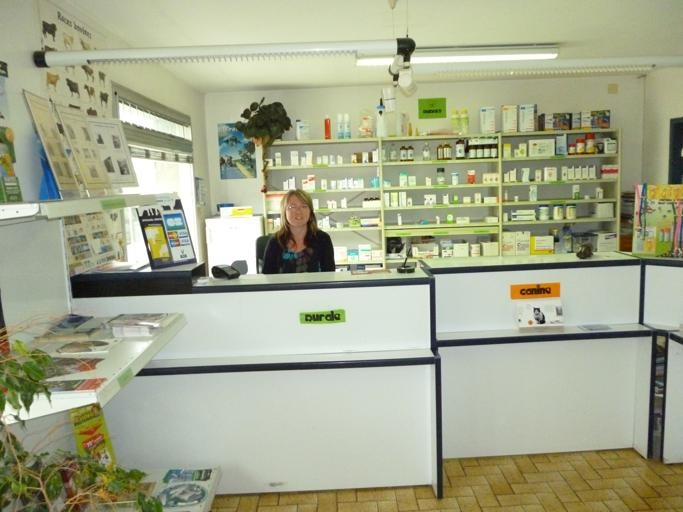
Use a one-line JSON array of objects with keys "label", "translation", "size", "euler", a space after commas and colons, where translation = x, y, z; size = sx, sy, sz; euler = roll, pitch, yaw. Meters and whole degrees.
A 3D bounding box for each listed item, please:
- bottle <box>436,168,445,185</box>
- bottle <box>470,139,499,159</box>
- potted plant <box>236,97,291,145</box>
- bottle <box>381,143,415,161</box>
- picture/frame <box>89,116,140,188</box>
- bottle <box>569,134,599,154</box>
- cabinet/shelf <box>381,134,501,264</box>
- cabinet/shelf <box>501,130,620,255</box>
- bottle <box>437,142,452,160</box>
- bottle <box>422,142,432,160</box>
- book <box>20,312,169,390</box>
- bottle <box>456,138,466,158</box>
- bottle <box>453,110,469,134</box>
[{"label": "bottle", "translation": [1.359, -1.084, 7.215], "size": [0.129, 0.219, 0.379], "euler": [-1, 10, 10]}, {"label": "bottle", "translation": [1.889, -1.427, 7.040], "size": [0.361, 0.277, 0.141], "euler": [-2, 10, -1]}, {"label": "potted plant", "translation": [-1.013, -1.731, 6.897], "size": [0.683, 0.572, 0.493], "euler": [-4, 10, -9]}, {"label": "bottle", "translation": [0.761, -1.402, 7.202], "size": [0.303, 0.191, 0.116], "euler": [-1, 5, -4]}, {"label": "picture/frame", "translation": [-1.507, -0.694, 3.564], "size": [0.183, 0.460, 0.256], "euler": [3, 11, 25]}, {"label": "bottle", "translation": [3.222, -1.487, 7.067], "size": [0.372, 0.279, 0.201], "euler": [0, 11, 15]}, {"label": "cabinet/shelf", "translation": [1.317, -0.801, 7.068], "size": [1.798, 1.694, 0.584], "euler": [-1, -1, 2]}, {"label": "cabinet/shelf", "translation": [2.929, -0.883, 7.088], "size": [1.724, 1.908, 0.568], "euler": [-1, -2, 1]}, {"label": "bottle", "translation": [1.390, -1.400, 7.121], "size": [0.192, 0.214, 0.138], "euler": [-3, 10, -5]}, {"label": "bottle", "translation": [1.179, -1.429, 7.263], "size": [0.099, 0.218, 0.367], "euler": [-1, 10, 10]}, {"label": "book", "translation": [-1.303, 0.467, 2.747], "size": [0.699, 0.147, 0.871], "euler": [-1, 10, 6]}, {"label": "bottle", "translation": [1.609, -1.438, 7.150], "size": [0.126, 0.258, 0.227], "euler": [1, 11, 20]}, {"label": "bottle", "translation": [1.590, -1.783, 7.088], "size": [0.216, 0.342, 0.264], "euler": [-1, 10, 7]}]
